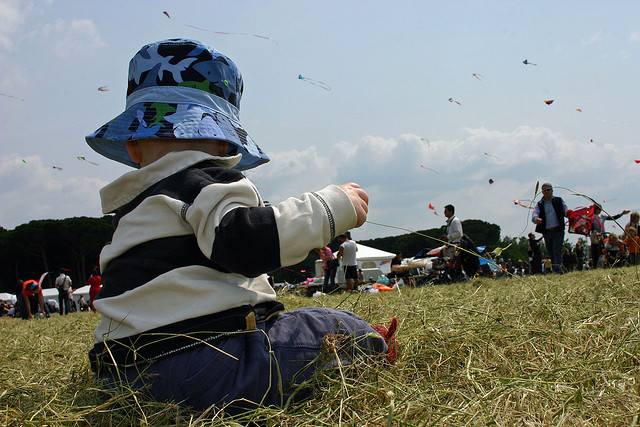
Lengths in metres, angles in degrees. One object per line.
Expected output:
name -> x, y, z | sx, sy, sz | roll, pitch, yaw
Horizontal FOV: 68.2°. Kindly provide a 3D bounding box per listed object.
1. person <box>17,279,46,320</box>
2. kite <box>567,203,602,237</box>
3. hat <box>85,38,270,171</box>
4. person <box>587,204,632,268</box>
person -> -8.636, 2.607, 14.181 | 0.537, 1.113, 1.947 | -8, -8, -37
kite -> 4.745, 0.146, 8.442 | 0.470, 0.502, 0.308 | -38, -13, 3
hat -> -0.692, -0.607, 2.986 | 1.087, 0.703, 1.131 | 14, 6, 27
person -> 5.015, 0.472, 8.199 | 0.349, 1.008, 1.023 | -13, 23, 6
